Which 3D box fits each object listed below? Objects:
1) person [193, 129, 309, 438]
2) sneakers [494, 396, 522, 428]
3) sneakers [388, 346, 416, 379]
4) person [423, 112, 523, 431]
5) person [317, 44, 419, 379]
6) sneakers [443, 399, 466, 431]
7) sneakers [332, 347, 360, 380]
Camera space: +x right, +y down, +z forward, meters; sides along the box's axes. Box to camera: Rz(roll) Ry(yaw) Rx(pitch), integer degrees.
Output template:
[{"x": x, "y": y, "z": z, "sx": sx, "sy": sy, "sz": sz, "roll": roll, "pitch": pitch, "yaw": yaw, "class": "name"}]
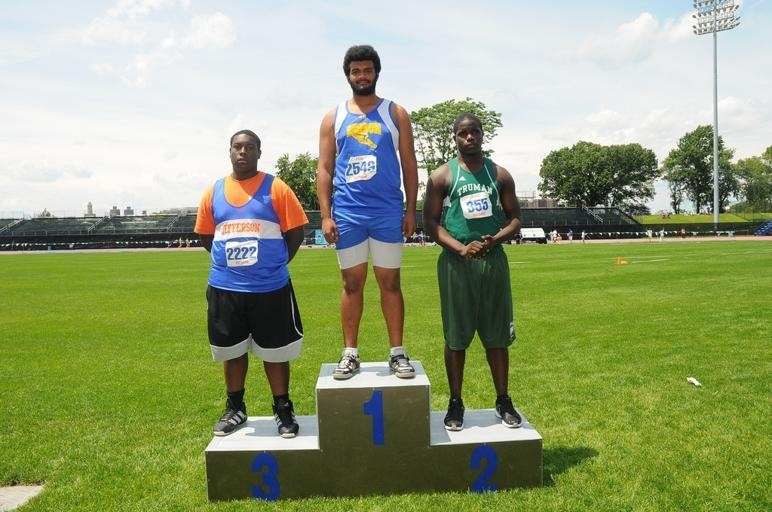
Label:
[{"x": -1.433, "y": 0.240, "z": 6.353, "sx": 1.117, "sy": 3.156, "sz": 0.607, "roll": -1, "pitch": 2, "yaw": 14, "class": "person"}, {"x": 1.268, "y": 1.603, "z": 6.170, "sx": 0.262, "sy": 0.280, "sz": 0.251, "roll": -2, "pitch": 2, "yaw": 11, "class": "sneakers"}, {"x": 0.170, "y": 1.103, "z": 6.216, "sx": 0.259, "sy": 0.256, "sz": 0.422, "roll": -2, "pitch": 2, "yaw": -5, "class": "sneakers"}, {"x": 0.939, "y": 0.084, "z": 6.381, "sx": 0.993, "sy": 3.243, "sz": 0.569, "roll": -2, "pitch": 2, "yaw": -3, "class": "person"}, {"x": -0.176, "y": -0.556, "z": 6.535, "sx": 1.124, "sy": 3.520, "sz": 0.903, "roll": -2, "pitch": 2, "yaw": -6, "class": "person"}, {"x": 0.704, "y": 1.636, "z": 6.196, "sx": 0.200, "sy": 0.272, "sz": 0.294, "roll": -2, "pitch": 2, "yaw": 8, "class": "sneakers"}, {"x": -0.407, "y": 1.118, "z": 6.230, "sx": 0.228, "sy": 0.250, "sz": 0.428, "roll": -1, "pitch": 2, "yaw": 14, "class": "sneakers"}]
